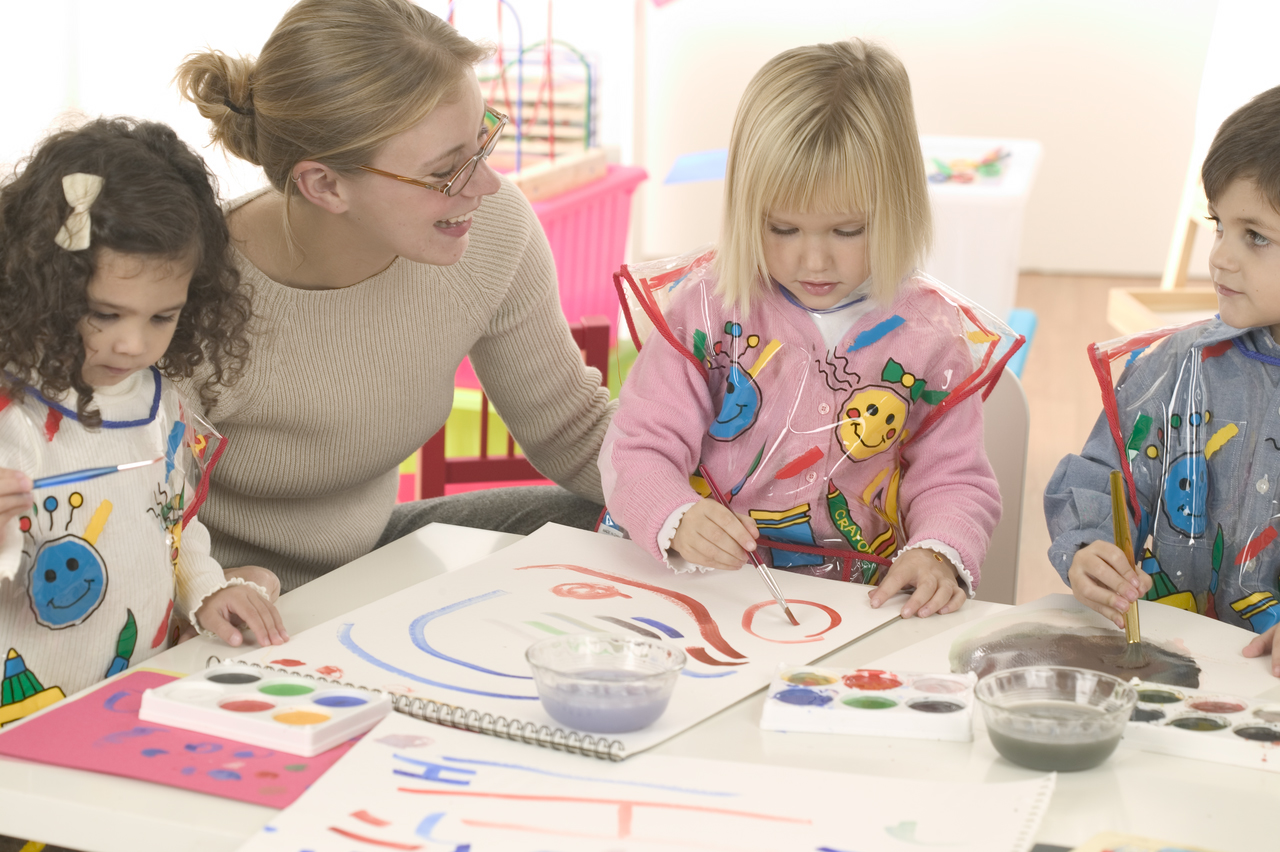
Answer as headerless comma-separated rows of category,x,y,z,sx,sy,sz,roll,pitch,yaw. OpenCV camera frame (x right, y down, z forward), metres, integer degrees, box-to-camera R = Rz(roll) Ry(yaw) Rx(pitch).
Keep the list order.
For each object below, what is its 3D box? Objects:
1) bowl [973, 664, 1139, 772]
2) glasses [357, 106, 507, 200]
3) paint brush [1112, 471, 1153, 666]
bowl,0.365,0.261,0.906,0.121,0.052,0.123,-4,6,0
glasses,-0.279,-0.366,1.392,0.150,0.144,0.046,20,5,10
paint brush,0.560,0.160,1.168,0.039,0.191,0.033,-3,-7,1
